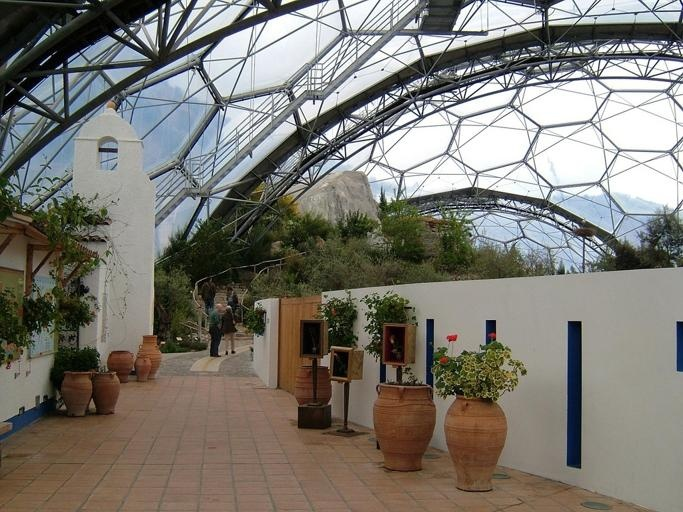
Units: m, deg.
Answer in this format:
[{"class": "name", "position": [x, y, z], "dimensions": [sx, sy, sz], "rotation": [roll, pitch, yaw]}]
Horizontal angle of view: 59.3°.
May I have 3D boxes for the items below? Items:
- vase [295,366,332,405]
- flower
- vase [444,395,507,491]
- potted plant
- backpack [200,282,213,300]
[{"class": "vase", "position": [-0.521, 2.486, 11.666], "dimensions": [0.688, 0.744, 0.693], "rotation": [7, -12, -39]}, {"class": "flower", "position": [1.804, 1.468, 7.807], "dimensions": [0.957, 0.658, 0.986], "rotation": [-5, 7, -27]}, {"class": "vase", "position": [1.668, 2.447, 7.976], "dimensions": [0.999, 1.360, 1.010], "rotation": [1, -9, 0]}, {"class": "potted plant", "position": [0.906, 2.424, 8.565], "dimensions": [0.848, 1.121, 0.875], "rotation": [-5, -11, 25]}, {"class": "backpack", "position": [-5.373, 1.451, 24.224], "dimensions": [0.432, 0.847, 0.958], "rotation": [1, -2, -15]}]
